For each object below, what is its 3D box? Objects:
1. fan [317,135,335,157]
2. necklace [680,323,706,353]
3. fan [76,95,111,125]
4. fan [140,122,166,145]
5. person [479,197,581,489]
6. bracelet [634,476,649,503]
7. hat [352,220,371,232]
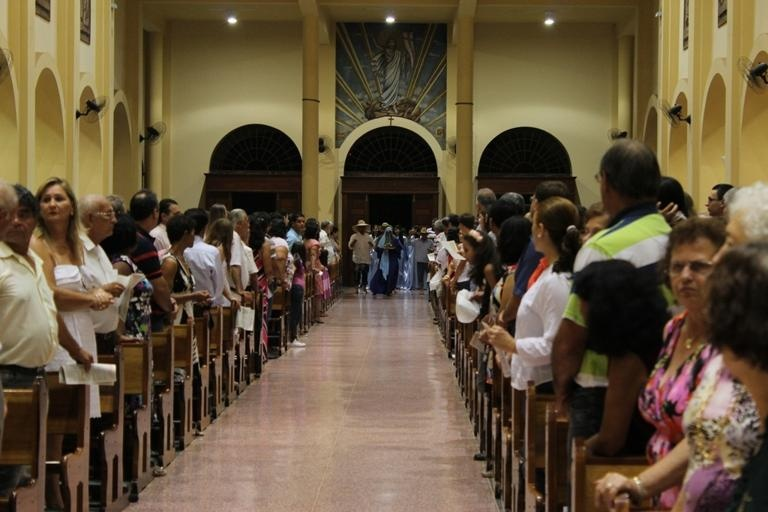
[{"bbox_3d":[-1.738,-3.200,22.058,0.371,0.593,0.423,8,-1,45],"label":"fan"},{"bbox_3d":[1.429,0.378,3.546,0.080,0.123,0.113,3,-2,24],"label":"necklace"},{"bbox_3d":[-5.437,-2.662,14.120,0.551,0.326,0.466,-22,3,14],"label":"fan"},{"bbox_3d":[-6.263,-3.337,20.716,0.840,0.403,0.649,-14,-1,40],"label":"fan"},{"bbox_3d":[0.861,0.628,5.037,0.582,2.042,0.566,9,22,9],"label":"person"},{"bbox_3d":[1.147,1.034,3.420,0.059,0.081,0.071,-26,-12,-38],"label":"bracelet"},{"bbox_3d":[-0.641,-0.873,20.853,0.301,0.145,0.442,0,-27,-5],"label":"hat"}]
